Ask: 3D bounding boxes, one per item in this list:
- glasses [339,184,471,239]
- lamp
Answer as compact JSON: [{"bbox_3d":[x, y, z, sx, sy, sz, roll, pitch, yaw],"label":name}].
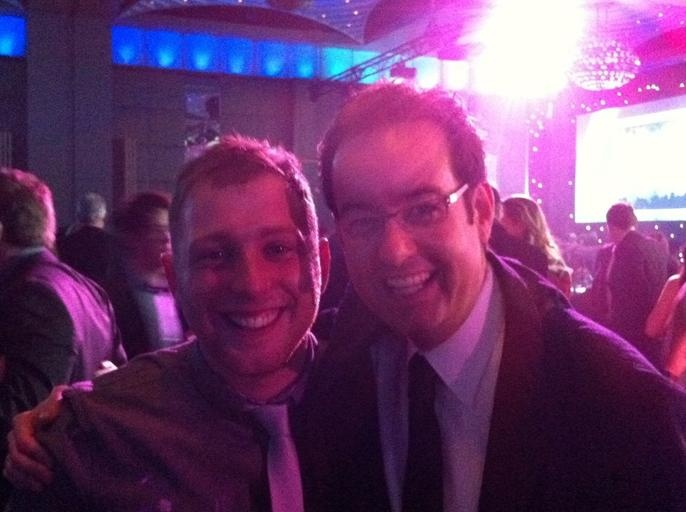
[{"bbox_3d":[0.172,-0.114,1.879,0.335,0.134,0.052,0,8,2],"label":"glasses"},{"bbox_3d":[2.505,-2.033,6.106,0.541,0.912,1.701,3,8,21],"label":"lamp"}]
